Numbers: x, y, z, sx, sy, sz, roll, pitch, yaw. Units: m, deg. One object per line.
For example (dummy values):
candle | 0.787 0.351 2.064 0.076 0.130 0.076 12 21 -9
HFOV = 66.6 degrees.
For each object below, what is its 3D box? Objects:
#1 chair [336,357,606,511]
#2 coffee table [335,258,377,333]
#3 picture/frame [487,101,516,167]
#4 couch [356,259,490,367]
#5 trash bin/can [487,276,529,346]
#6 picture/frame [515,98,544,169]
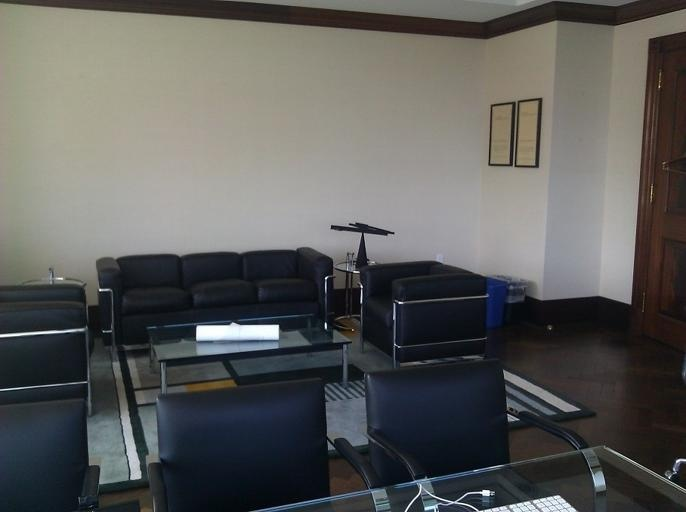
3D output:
chair | 0.464 0.824 2.599 0.697 0.735 0.842 -3 -5 -15
coffee table | 0.081 0.497 7.213 0.797 0.943 0.813 0 5 -3
picture/frame | 2.247 -1.710 7.388 0.043 0.881 0.554 -5 8 -22
couch | 0.827 0.635 5.810 1.169 0.952 1.146 -2 6 -24
trash bin/can | 2.191 0.669 7.221 0.519 0.639 0.641 17 -10 -38
picture/frame | 2.454 -1.619 6.950 0.104 0.891 0.446 -4 8 -18
